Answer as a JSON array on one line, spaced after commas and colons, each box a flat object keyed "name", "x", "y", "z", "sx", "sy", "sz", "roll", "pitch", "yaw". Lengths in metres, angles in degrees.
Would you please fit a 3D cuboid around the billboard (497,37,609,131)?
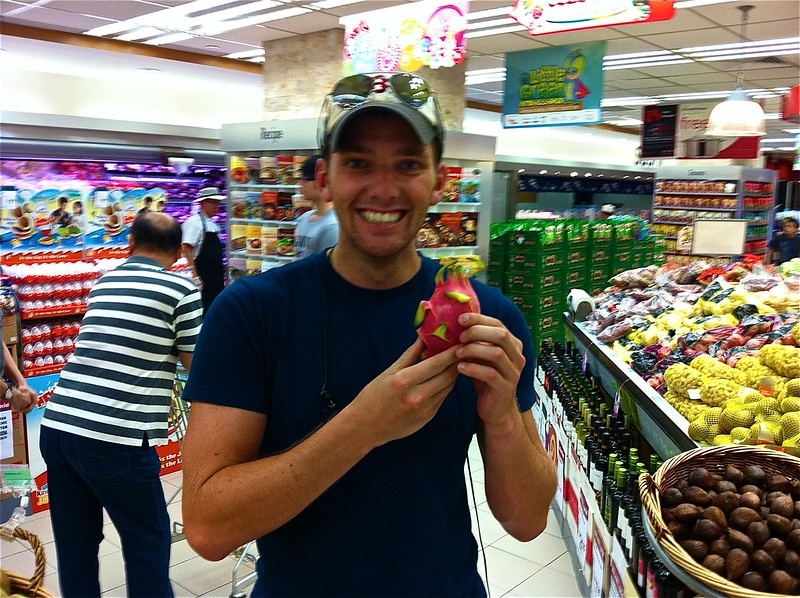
[{"name": "billboard", "x": 2.082, "y": -2.913, "z": 6.886, "sx": 1.478, "sy": 0.983, "sz": 0.033, "roll": 16, "pitch": 24, "yaw": 42}]

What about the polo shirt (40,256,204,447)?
[{"name": "polo shirt", "x": -1.563, "y": 0.292, "z": 2.802, "sx": 0.810, "sy": 0.930, "sz": 0.725, "roll": 7, "pitch": 1, "yaw": 14}]

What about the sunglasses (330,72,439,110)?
[{"name": "sunglasses", "x": -0.038, "y": -0.427, "z": 1.030, "sx": 0.223, "sy": 0.091, "sz": 0.105, "roll": -2, "pitch": 9, "yaw": -6}]

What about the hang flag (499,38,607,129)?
[{"name": "hang flag", "x": 2.033, "y": -2.929, "z": 6.928, "sx": 0.029, "sy": 1.019, "sz": 1.510, "roll": -25, "pitch": 29, "yaw": -35}]
